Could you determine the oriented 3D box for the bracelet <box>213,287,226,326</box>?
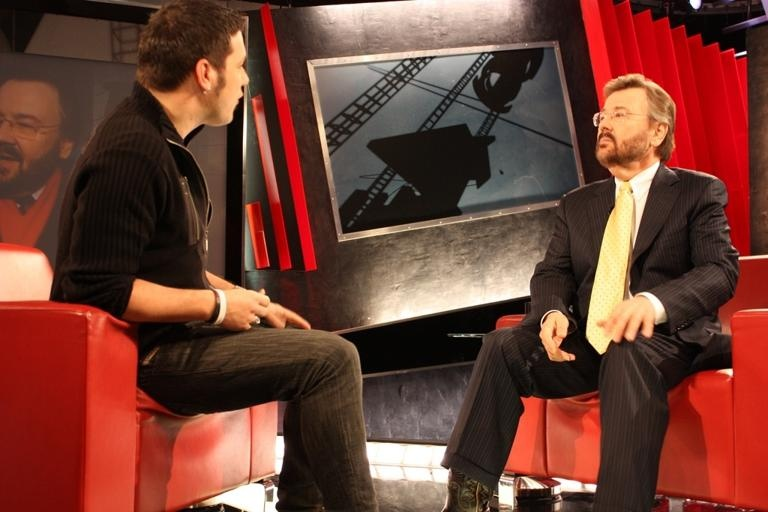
[{"bbox_3d":[-0.487,0.151,1.940,0.021,0.082,0.083,4,-22,-15],"label":"bracelet"}]
